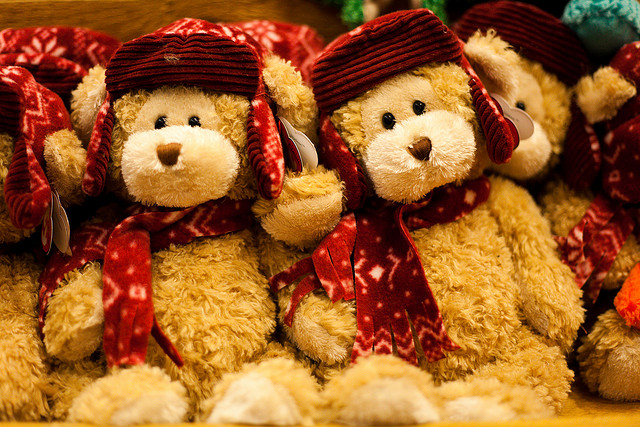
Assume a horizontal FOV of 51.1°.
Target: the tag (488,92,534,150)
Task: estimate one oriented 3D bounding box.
[{"bbox_3d":[0.417,-0.189,1.462,0.118,0.114,0.027,28,52,25],"label":"tag"}]
